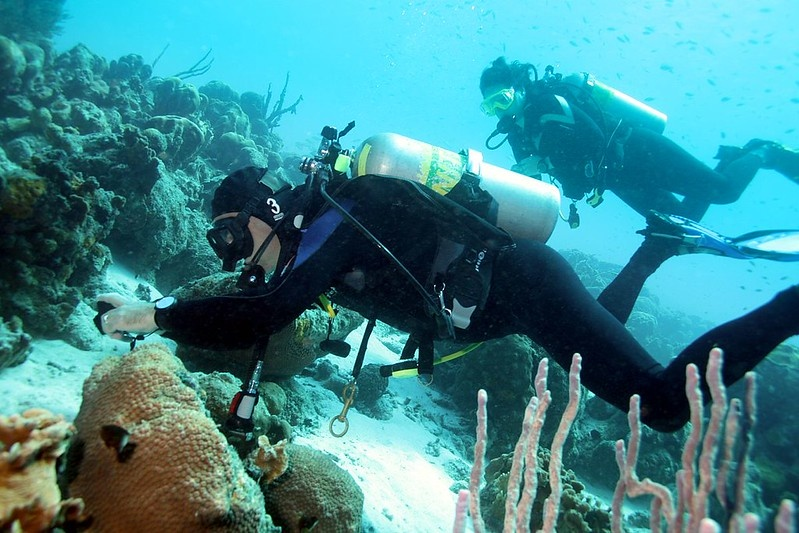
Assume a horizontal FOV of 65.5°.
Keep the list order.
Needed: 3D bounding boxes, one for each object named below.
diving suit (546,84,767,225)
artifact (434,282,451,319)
[{"bbox_3d":[4.076,-1.745,10.682,3.149,1.779,1.048,36,-39,19],"label":"diving suit"},{"bbox_3d":[0.551,0.444,8.211,0.107,0.421,0.317,-4,-9,-11],"label":"artifact"}]
